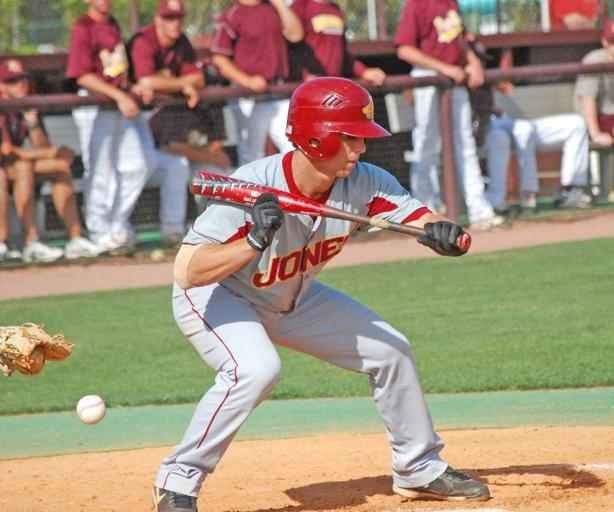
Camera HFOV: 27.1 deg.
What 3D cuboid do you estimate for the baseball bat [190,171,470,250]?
[{"bbox_3d":[0.096,-0.237,6.356,1.671,0.165,0.190,13,11,10],"label":"baseball bat"}]

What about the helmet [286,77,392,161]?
[{"bbox_3d":[0.151,-0.687,6.128,0.547,0.335,0.382,2,21,-4],"label":"helmet"}]

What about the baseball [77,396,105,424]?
[{"bbox_3d":[-1.175,0.834,6.999,0.158,0.144,0.161,-16,-24,40],"label":"baseball"}]

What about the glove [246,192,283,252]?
[{"bbox_3d":[-0.188,-0.156,5.850,0.196,0.234,0.095,-2,45,-30],"label":"glove"}]

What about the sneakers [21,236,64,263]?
[{"bbox_3d":[-1.694,-0.036,8.128,0.210,0.096,0.137,-3,15,-17],"label":"sneakers"}]

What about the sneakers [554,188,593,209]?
[{"bbox_3d":[1.820,-0.394,8.644,0.276,0.140,0.113,-1,12,0],"label":"sneakers"}]

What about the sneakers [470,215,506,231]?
[{"bbox_3d":[1.198,-0.223,8.587,0.299,0.110,0.093,-3,-3,-8],"label":"sneakers"}]

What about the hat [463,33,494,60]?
[{"bbox_3d":[1.148,-1.407,8.593,0.190,0.062,0.144,45,0,28],"label":"hat"}]

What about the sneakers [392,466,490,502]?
[{"bbox_3d":[0.681,1.142,6.378,0.517,0.192,0.176,-2,-5,6],"label":"sneakers"}]

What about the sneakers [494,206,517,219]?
[{"bbox_3d":[1.370,-0.297,8.719,0.188,0.070,0.064,13,1,-5],"label":"sneakers"}]
